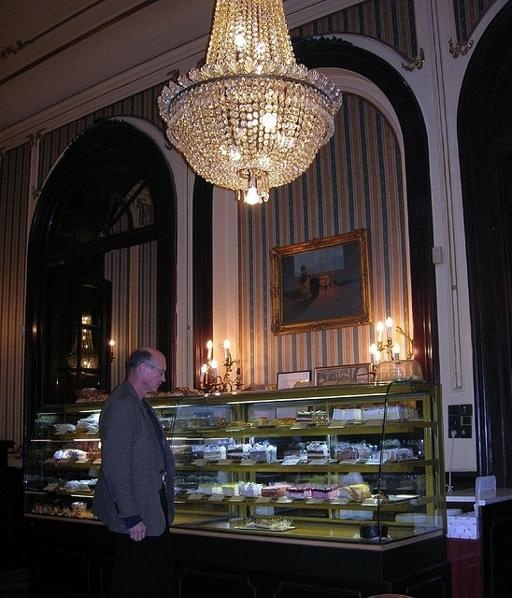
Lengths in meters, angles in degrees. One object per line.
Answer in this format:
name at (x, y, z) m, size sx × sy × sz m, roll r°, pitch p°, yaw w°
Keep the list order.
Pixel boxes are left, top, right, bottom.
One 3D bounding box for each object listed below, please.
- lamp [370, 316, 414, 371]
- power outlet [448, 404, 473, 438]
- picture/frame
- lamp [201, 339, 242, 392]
lamp at (0.960, 0.314, 4.351) m, size 0.126 × 0.299 × 0.248 m, roll 12°, pitch -19°, yaw -31°
power outlet at (1.255, 0.748, 3.843) m, size 0.037 × 0.202 × 0.163 m, roll 4°, pitch -10°, yaw -44°
picture/frame at (0.549, 0.100, 4.873) m, size 0.901 × 1.035 × 0.076 m, roll -9°, pitch -14°, yaw 39°
lamp at (-0.284, 0.559, 5.227) m, size 0.280 × 0.532 × 0.266 m, roll -2°, pitch -37°, yaw 1°
